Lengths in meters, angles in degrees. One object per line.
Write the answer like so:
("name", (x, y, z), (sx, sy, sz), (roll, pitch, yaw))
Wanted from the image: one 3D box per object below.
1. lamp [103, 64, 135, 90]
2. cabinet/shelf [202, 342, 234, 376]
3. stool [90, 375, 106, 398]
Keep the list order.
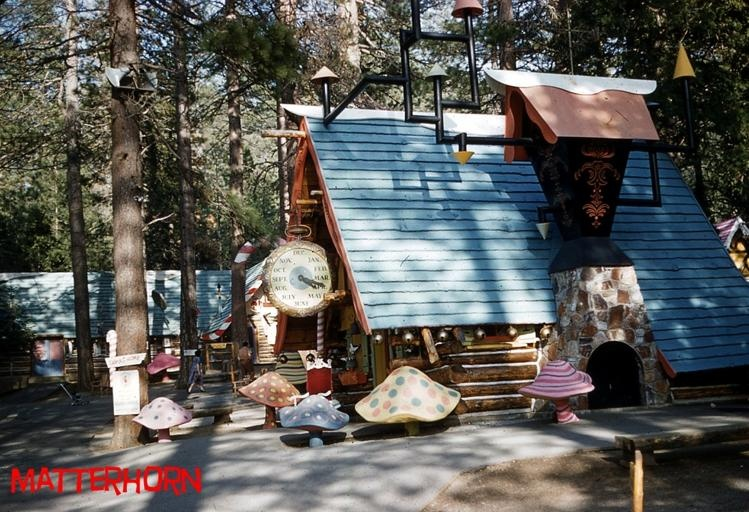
("lamp", (-6.610, -4.577, 18.696), (0.784, 0.487, 0.590), (3, 8, -23))
("cabinet/shelf", (-7.872, 5.229, 36.953), (1.458, 1.320, 0.532), (-2, -8, 3))
("stool", (-12.043, 5.680, 31.549), (0.581, 0.919, 0.694), (-4, -12, 18))
